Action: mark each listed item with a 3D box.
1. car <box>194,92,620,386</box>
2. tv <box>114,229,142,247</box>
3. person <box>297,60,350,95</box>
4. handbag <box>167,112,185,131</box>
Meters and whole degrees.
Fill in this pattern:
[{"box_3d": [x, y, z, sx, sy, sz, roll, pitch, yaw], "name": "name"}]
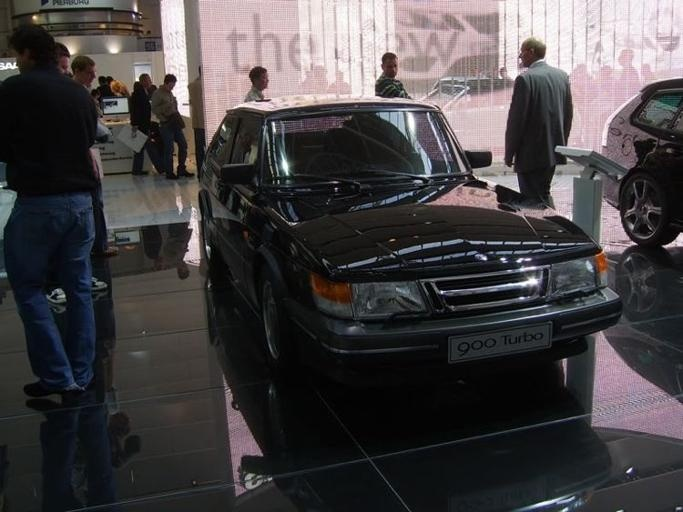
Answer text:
[{"box_3d": [-0.023, -0.270, 3.781, 1.571, 1.241, 3.100, -5, 13, -20], "name": "car"}, {"box_3d": [-2.939, -0.271, 6.964, 0.329, 0.082, 0.316, 3, 19, 4], "name": "tv"}, {"box_3d": [-0.325, -3.874, 10.938, 1.070, 0.577, 0.176, -2, 17, -5], "name": "person"}, {"box_3d": [-3.907, -3.220, 12.150, 0.349, 0.391, 0.629, -40, 9, -17], "name": "handbag"}]
